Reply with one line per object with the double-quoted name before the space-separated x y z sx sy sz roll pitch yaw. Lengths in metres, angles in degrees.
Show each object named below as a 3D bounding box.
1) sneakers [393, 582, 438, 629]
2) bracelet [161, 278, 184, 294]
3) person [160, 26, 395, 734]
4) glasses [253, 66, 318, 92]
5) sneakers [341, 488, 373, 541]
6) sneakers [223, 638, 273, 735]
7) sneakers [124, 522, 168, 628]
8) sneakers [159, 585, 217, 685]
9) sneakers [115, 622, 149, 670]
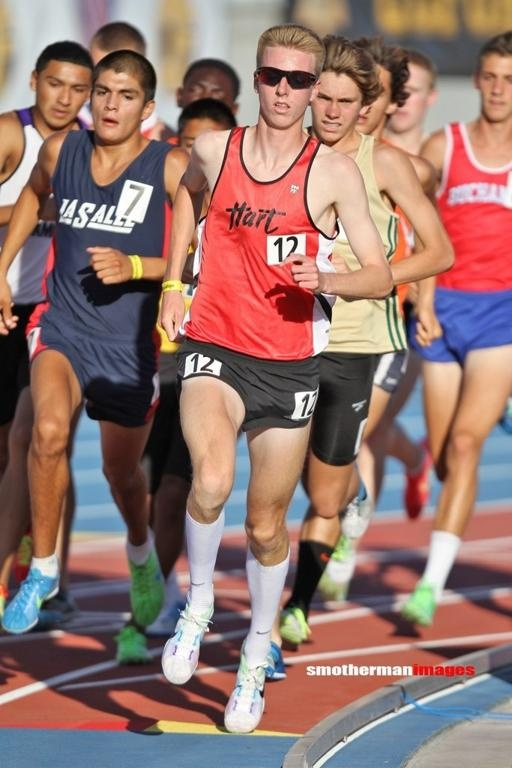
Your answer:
"sneakers" 0.581 0.786 2.787 0.084 0.090 0.209 16 10 15
"bracelet" -0.242 -0.290 2.300 0.048 0.028 0.048 -1 0 32
"person" 0.060 -0.015 2.078 0.528 1.888 0.781 3 -7 -30
"glasses" 0.079 -0.783 2.008 0.160 0.073 0.069 0 -6 -2
"sneakers" 0.506 0.651 3.899 0.102 0.265 0.163 26 -18 -35
"sneakers" -0.022 0.863 2.225 0.084 0.112 0.273 12 30 2
"sneakers" -0.457 0.799 3.266 0.131 0.392 0.162 -9 -4 -6
"sneakers" -0.176 0.669 2.115 0.097 0.108 0.278 22 41 -2
"sneakers" -0.497 1.036 3.098 0.101 0.042 0.145 2 42 -6
